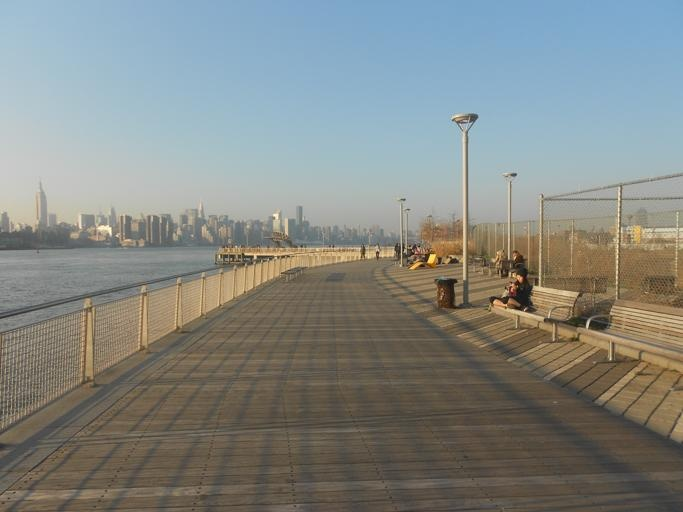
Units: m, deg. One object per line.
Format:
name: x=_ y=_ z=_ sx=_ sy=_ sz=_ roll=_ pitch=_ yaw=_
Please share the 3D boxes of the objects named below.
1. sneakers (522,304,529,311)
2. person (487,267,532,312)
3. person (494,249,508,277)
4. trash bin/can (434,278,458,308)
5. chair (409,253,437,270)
sneakers: x=3.592 y=1.040 z=13.363 sx=0.096 sy=0.073 sz=0.225 roll=-8 pitch=-20 yaw=-12
person: x=3.508 y=0.767 z=13.912 sx=0.787 sy=0.962 sz=1.057 roll=3 pitch=1 yaw=-8
person: x=5.827 y=0.290 z=24.921 sx=0.382 sy=0.572 sz=1.116 roll=0 pitch=0 yaw=6
trash bin/can: x=2.637 y=0.948 z=17.480 sx=0.746 sy=0.925 sz=0.704 roll=-2 pitch=4 yaw=7
chair: x=4.368 y=0.365 z=35.867 sx=1.484 sy=0.716 sz=0.768 roll=-3 pitch=1 yaw=-4
